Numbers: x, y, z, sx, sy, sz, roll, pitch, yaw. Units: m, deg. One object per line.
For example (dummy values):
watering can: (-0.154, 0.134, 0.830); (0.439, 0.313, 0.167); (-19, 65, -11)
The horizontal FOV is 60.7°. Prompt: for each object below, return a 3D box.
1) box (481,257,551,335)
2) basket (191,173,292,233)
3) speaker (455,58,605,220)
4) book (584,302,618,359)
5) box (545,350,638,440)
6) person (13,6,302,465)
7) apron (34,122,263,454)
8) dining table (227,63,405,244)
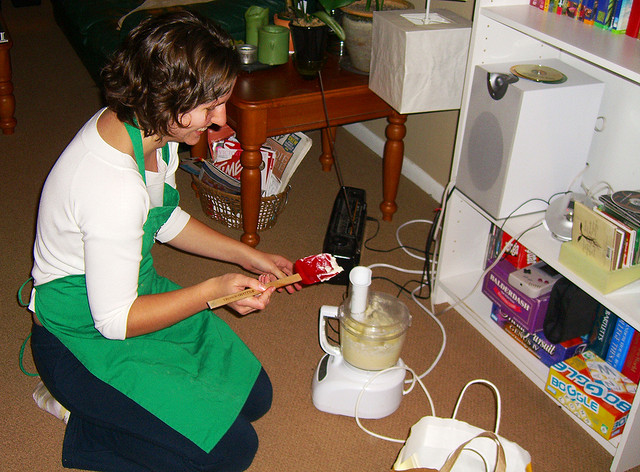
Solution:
box: (0.703, 0.192, 1.918); (0.124, 0.154, 0.235); (-24, 43, -22)
basket: (-0.330, -0.142, 2.514); (0.373, 0.172, 0.450); (8, 15, 24)
speaker: (0.652, -0.313, 1.736); (0.354, 0.421, 0.234); (-12, 35, -13)
book: (0.892, 0.294, 1.763); (0.031, 0.148, 0.134); (23, 21, 30)
box: (0.863, 0.483, 1.718); (0.175, 0.118, 0.232); (-25, 41, -27)
person: (-0.476, 0.105, 1.397); (0.679, 1.138, 0.436); (-8, 34, -7)
apron: (-0.458, 0.264, 1.571); (0.511, 0.480, 0.422); (16, 39, 24)
dining table: (-0.099, -0.396, 2.495); (0.624, 0.734, 0.869); (-11, 40, -19)
